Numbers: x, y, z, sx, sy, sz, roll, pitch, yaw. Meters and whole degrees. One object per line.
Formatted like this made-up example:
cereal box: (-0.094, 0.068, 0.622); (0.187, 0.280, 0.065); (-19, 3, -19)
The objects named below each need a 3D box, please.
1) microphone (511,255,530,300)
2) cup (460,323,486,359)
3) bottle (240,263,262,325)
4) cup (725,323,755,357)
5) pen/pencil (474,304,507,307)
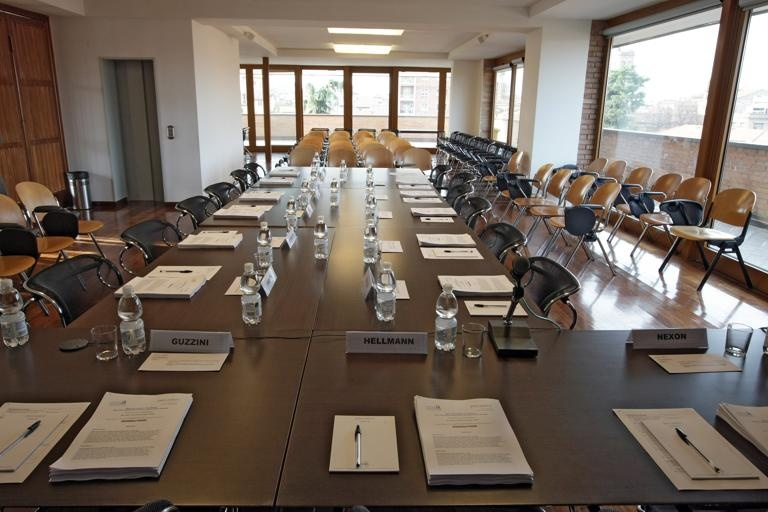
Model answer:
microphone: (0.737, 0.123, 2.684); (0.079, 0.295, 0.222); (4, 17, 14)
cup: (0.466, 0.442, 2.609); (0.141, 0.166, 0.168); (2, 13, 11)
bottle: (-0.799, 0.198, 2.926); (0.123, 0.325, 0.340); (-4, 17, -15)
cup: (1.941, 0.466, 2.673); (0.143, 0.187, 0.122); (4, 14, 9)
pen/pencil: (0.650, 0.309, 3.062); (0.109, 0.010, 0.018); (3, 32, 4)
